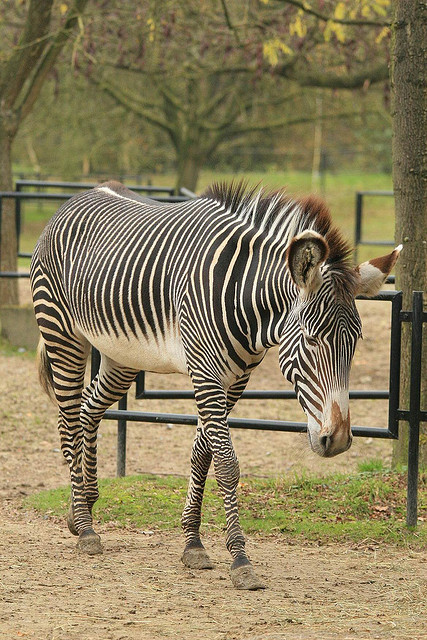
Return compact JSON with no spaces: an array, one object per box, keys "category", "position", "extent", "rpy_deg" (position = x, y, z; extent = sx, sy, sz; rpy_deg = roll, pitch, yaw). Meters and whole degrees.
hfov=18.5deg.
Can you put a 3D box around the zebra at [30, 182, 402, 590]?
[{"category":"zebra","position":[-0.162,0.260,6.238],"extent":[2.073,1.911,0.597],"rpy_deg":[8,10,40]}]
